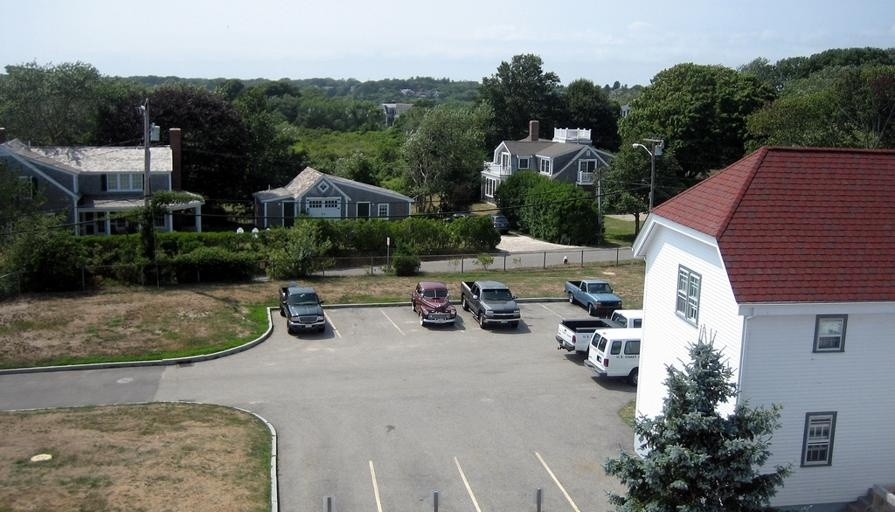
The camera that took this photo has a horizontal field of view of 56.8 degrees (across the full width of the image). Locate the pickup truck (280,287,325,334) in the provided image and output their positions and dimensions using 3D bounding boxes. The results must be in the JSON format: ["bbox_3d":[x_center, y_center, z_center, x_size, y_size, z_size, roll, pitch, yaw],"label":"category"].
[{"bbox_3d":[-9.743,3.693,56.138,2.426,2.574,3.703,-4,13,-21],"label":"pickup truck"}]

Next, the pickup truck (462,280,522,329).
[{"bbox_3d":[3.040,3.370,57.453,2.345,2.802,4.111,-5,13,-26],"label":"pickup truck"}]

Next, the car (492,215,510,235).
[{"bbox_3d":[5.816,-3.268,88.467,1.300,1.113,2.898,1,14,-3],"label":"car"}]
